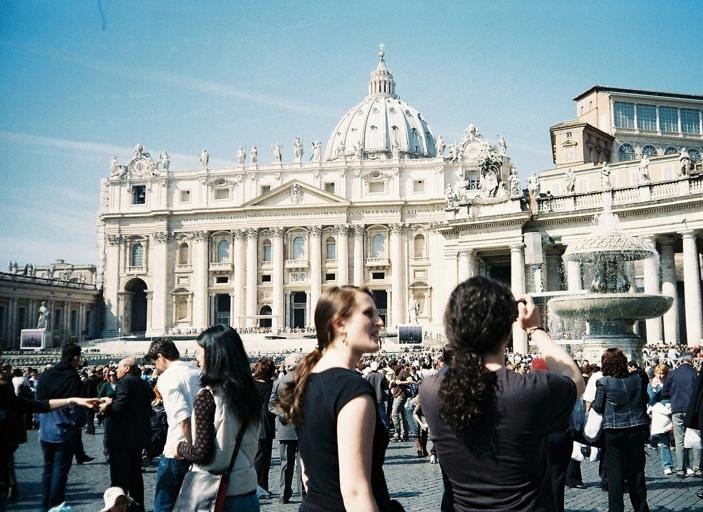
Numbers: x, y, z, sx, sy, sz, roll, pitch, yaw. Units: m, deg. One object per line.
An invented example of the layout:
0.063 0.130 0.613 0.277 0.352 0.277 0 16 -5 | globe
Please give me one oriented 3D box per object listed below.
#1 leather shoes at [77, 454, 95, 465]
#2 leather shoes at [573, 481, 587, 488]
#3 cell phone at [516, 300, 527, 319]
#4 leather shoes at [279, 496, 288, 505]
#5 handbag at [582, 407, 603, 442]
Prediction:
-5.161 3.948 16.173 0.313 0.119 0.223 -8 -28 -4 | leather shoes
3.593 3.589 13.104 0.177 0.059 0.121 -6 -44 3 | leather shoes
1.523 0.453 7.503 0.069 0.180 0.263 -3 -8 22 | cell phone
-1.029 3.736 12.738 0.128 0.131 0.082 -2 -5 12 | leather shoes
3.187 2.228 11.014 0.282 0.391 0.149 7 -12 46 | handbag
